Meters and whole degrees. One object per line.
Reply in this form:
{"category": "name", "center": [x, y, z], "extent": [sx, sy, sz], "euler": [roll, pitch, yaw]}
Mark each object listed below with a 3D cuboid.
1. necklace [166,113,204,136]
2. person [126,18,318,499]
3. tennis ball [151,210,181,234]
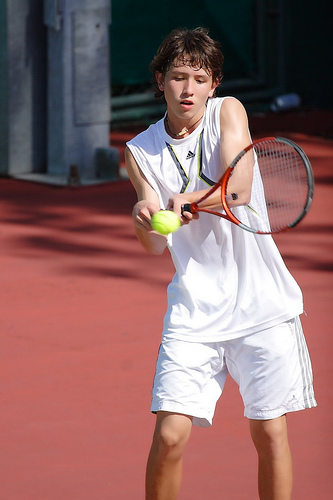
{"category": "necklace", "center": [0.055, -0.351, 1.460], "extent": [0.047, 0.069, 0.015], "euler": [38, -9, 48]}
{"category": "person", "center": [0.160, 0.038, 1.550], "extent": [0.512, 1.359, 0.473], "euler": [0, 8, -19]}
{"category": "tennis ball", "center": [0.005, -0.073, 1.355], "extent": [0.082, 0.064, 0.060], "euler": [-7, 31, 7]}
